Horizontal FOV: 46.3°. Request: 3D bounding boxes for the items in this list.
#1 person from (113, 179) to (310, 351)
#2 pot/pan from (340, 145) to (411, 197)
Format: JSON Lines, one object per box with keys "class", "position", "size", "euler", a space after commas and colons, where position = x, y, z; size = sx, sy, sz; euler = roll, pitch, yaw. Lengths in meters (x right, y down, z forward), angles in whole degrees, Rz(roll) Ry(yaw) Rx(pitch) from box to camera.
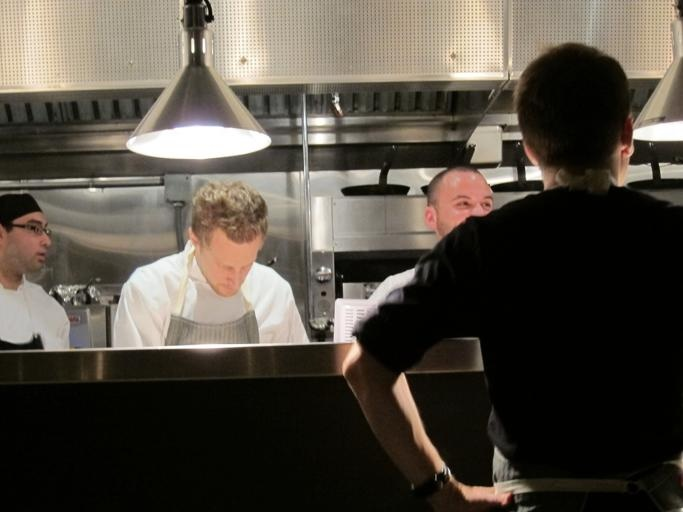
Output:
{"class": "person", "position": [-0.662, 0.044, 3.757], "size": [0.884, 0.848, 0.495], "euler": [-1, 2, -36]}
{"class": "pot/pan", "position": [0.226, -0.456, 4.494], "size": [0.415, 0.298, 0.422], "euler": [2, -6, 16]}
